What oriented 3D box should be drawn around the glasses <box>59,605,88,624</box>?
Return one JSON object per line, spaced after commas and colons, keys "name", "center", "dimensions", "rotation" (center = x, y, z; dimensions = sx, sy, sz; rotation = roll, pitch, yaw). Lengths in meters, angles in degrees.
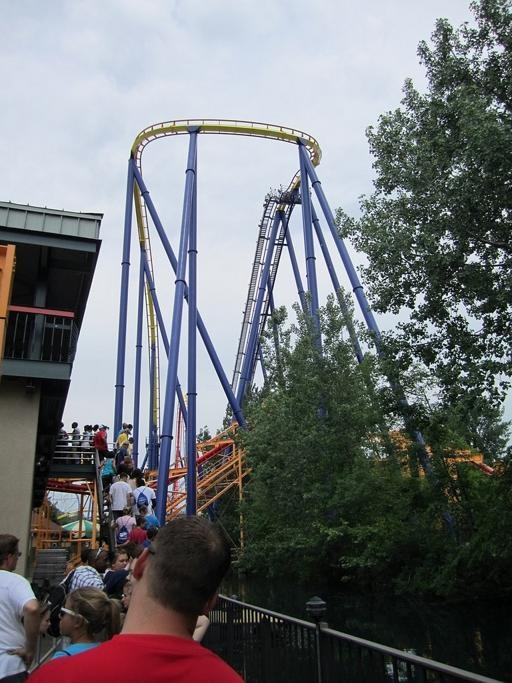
{"name": "glasses", "center": [-0.704, 1.050, 2.245], "dimensions": [0.085, 0.025, 0.070], "rotation": [18, -29, -10]}
